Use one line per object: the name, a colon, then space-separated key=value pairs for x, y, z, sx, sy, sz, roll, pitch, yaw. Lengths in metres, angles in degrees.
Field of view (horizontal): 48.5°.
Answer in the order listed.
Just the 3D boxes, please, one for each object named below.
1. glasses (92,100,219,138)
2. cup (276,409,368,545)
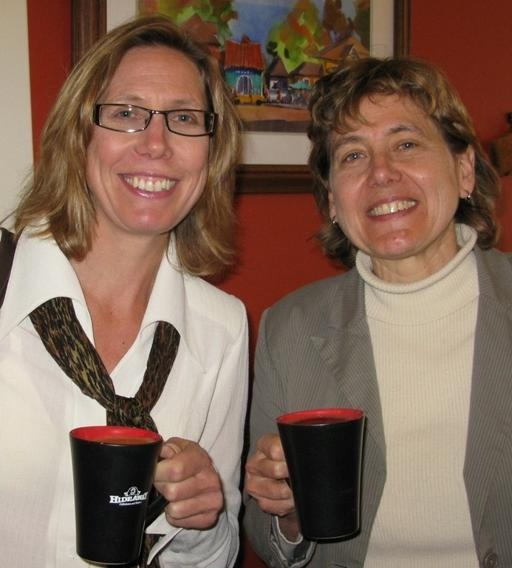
glasses: x=-0.195 y=-0.346 z=1.209 sx=0.277 sy=0.076 sz=0.071 roll=-9 pitch=12 yaw=-27
cup: x=0.115 y=0.322 z=0.965 sx=0.145 sy=0.239 sz=0.129 roll=-3 pitch=12 yaw=9
